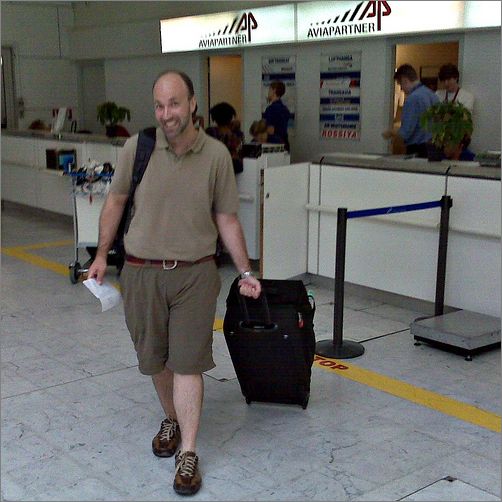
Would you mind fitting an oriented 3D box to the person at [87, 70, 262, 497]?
[{"bbox_3d":[-0.296,0.097,2.085,0.444,1.610,0.518,4,10,28],"label":"person"}]

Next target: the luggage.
[{"bbox_3d":[0.127,0.467,2.642,0.462,0.601,0.418,-6,7,5],"label":"luggage"}]

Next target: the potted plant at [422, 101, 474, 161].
[{"bbox_3d":[1.660,-1.019,4.345,0.498,0.480,0.419,8,22,3],"label":"potted plant"}]

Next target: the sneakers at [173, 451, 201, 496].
[{"bbox_3d":[-0.244,0.853,1.941,0.079,0.069,0.176,-1,6,-6],"label":"sneakers"}]

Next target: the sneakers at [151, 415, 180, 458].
[{"bbox_3d":[-0.377,0.835,2.316,0.097,0.096,0.253,3,9,1],"label":"sneakers"}]

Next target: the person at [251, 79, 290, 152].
[{"bbox_3d":[0.322,-1.804,7.939,0.538,1.611,0.562,10,26,23],"label":"person"}]

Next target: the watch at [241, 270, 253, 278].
[{"bbox_3d":[-0.018,0.103,2.199,0.042,0.026,0.044,-2,0,13],"label":"watch"}]
